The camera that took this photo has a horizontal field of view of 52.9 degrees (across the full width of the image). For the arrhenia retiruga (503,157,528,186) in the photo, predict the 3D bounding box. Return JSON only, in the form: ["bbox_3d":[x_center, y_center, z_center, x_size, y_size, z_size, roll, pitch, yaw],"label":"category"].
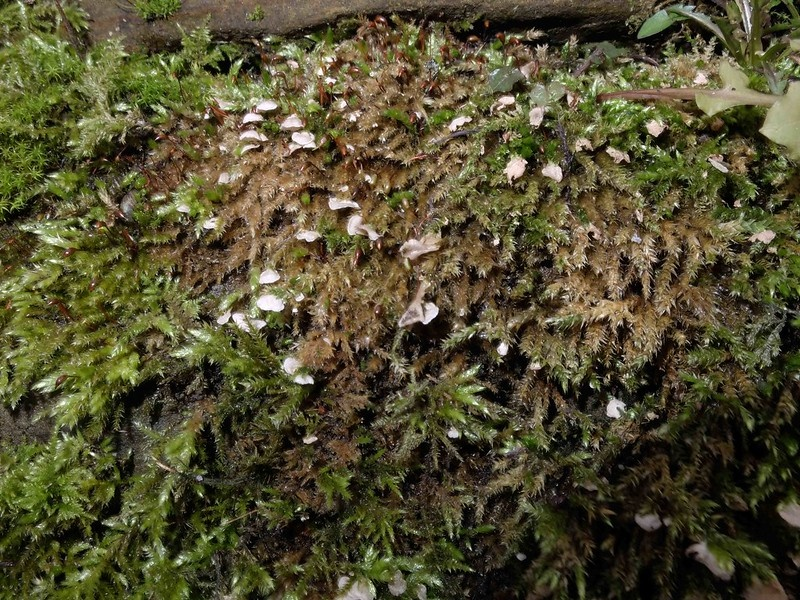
[{"bbox_3d":[0.691,-0.788,4.854,0.160,0.074,0.106,-43,69,-5],"label":"arrhenia retiruga"}]

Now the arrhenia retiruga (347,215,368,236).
[{"bbox_3d":[-0.255,-0.453,4.949,0.127,0.092,0.113,-5,70,10],"label":"arrhenia retiruga"}]

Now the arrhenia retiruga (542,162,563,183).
[{"bbox_3d":[0.920,-0.768,4.840,0.125,0.048,0.089,35,81,20],"label":"arrhenia retiruga"}]
